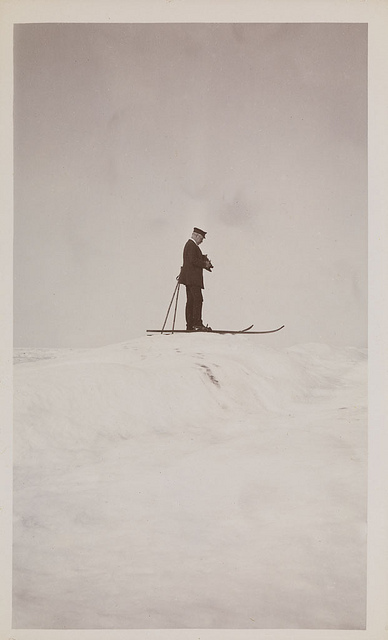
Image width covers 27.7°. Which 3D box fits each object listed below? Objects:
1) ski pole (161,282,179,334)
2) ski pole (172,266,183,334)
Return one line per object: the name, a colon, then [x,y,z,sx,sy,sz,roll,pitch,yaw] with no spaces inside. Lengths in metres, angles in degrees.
ski pole: [-0.127,-0.067,4.566,0.016,0.311,0.041,12,-24,14]
ski pole: [-0.095,-0.115,4.524,0.008,0.403,0.027,7,-16,1]
